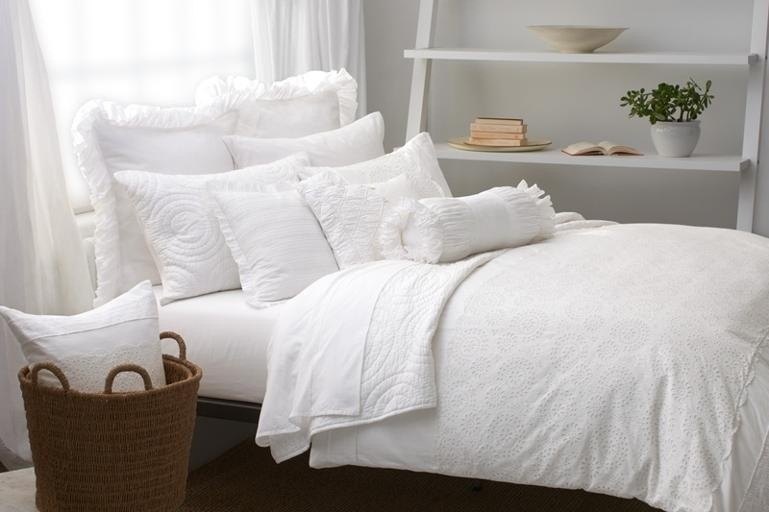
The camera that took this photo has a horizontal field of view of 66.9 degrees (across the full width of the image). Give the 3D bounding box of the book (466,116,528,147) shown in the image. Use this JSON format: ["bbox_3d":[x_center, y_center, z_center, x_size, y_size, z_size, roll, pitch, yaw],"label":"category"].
[{"bbox_3d":[0.735,-0.794,3.773,0.292,0.152,0.219,3,8,25],"label":"book"}]

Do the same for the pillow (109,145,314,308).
[{"bbox_3d":[-0.858,-0.052,2.487,0.752,0.522,0.222,-9,-11,-35],"label":"pillow"}]

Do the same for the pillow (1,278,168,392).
[{"bbox_3d":[-1.024,0.277,1.959,0.373,0.140,0.357,-7,61,-42],"label":"pillow"}]

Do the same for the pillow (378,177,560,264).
[{"bbox_3d":[0.402,-0.135,2.534,0.794,0.316,0.290,-10,35,-24],"label":"pillow"}]

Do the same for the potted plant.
[{"bbox_3d":[1.730,-0.809,3.507,0.493,0.444,0.298,-3,10,-7],"label":"potted plant"}]

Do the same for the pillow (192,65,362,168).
[{"bbox_3d":[-0.515,-0.755,3.018,0.733,0.235,0.710,-5,47,-15],"label":"pillow"}]
